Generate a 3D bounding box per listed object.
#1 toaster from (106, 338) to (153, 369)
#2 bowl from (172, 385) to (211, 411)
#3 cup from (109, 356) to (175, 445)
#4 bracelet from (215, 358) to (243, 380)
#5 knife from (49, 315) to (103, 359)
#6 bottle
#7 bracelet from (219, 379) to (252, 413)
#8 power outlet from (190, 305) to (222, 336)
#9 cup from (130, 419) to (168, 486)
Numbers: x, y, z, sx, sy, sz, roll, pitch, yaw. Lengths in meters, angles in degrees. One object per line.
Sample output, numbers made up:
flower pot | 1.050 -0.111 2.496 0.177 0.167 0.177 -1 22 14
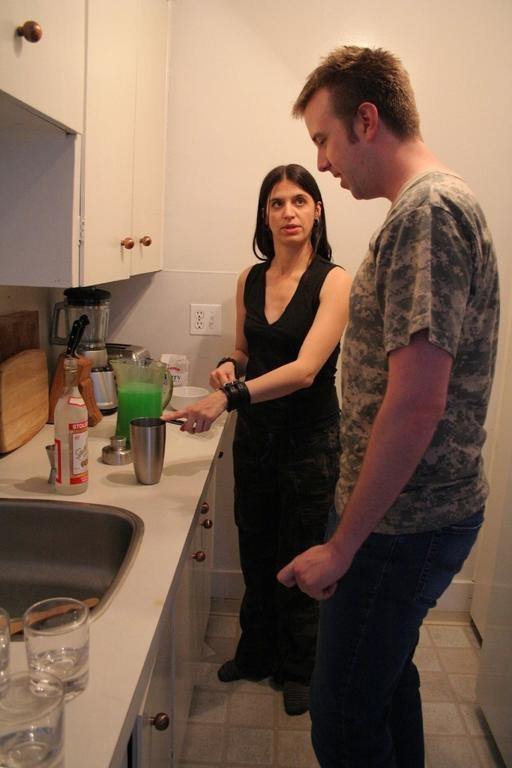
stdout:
toaster | -0.425 -0.126 2.057 0.125 0.091 0.124 16 13 4
bowl | -0.224 0.046 2.101 0.084 0.040 0.083 0 12 0
cup | -0.316 0.027 1.642 0.229 0.266 0.149 3 -4 -21
bracelet | -0.078 -0.051 2.003 0.066 0.045 0.079 3 10 -13
knife | -0.494 -0.131 1.730 0.162 0.159 0.088 -4 34 -25
bottle | -0.376 0.085 1.271 0.070 0.280 0.081 4 10 0
bracelet | -0.047 0.033 1.586 0.056 0.091 0.083 -24 9 -31
power outlet | -0.177 -0.235 2.253 0.105 0.103 0.010 2 8 -2
cup | -0.238 0.151 1.387 0.090 0.143 0.091 4 2 0
